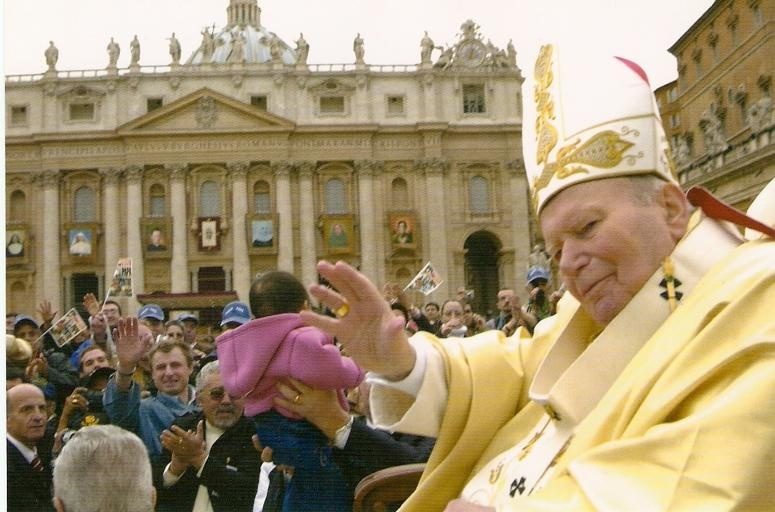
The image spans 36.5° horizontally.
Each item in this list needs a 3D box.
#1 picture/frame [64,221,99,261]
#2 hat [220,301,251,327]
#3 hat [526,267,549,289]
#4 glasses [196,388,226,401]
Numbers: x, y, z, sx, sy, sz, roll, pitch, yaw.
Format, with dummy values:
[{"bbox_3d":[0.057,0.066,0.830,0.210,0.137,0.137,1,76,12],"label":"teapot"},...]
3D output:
[{"bbox_3d":[-3.344,-0.147,12.752,0.417,0.456,0.287,1,-36,-18],"label":"picture/frame"},{"bbox_3d":[-1.050,0.394,8.153,0.163,0.127,0.243,2,-5,-1],"label":"hat"},{"bbox_3d":[1.086,0.152,8.478,0.127,0.157,0.167,-3,3,6],"label":"hat"},{"bbox_3d":[-1.137,0.890,7.588,0.117,0.042,0.144,2,-18,-14],"label":"glasses"}]
